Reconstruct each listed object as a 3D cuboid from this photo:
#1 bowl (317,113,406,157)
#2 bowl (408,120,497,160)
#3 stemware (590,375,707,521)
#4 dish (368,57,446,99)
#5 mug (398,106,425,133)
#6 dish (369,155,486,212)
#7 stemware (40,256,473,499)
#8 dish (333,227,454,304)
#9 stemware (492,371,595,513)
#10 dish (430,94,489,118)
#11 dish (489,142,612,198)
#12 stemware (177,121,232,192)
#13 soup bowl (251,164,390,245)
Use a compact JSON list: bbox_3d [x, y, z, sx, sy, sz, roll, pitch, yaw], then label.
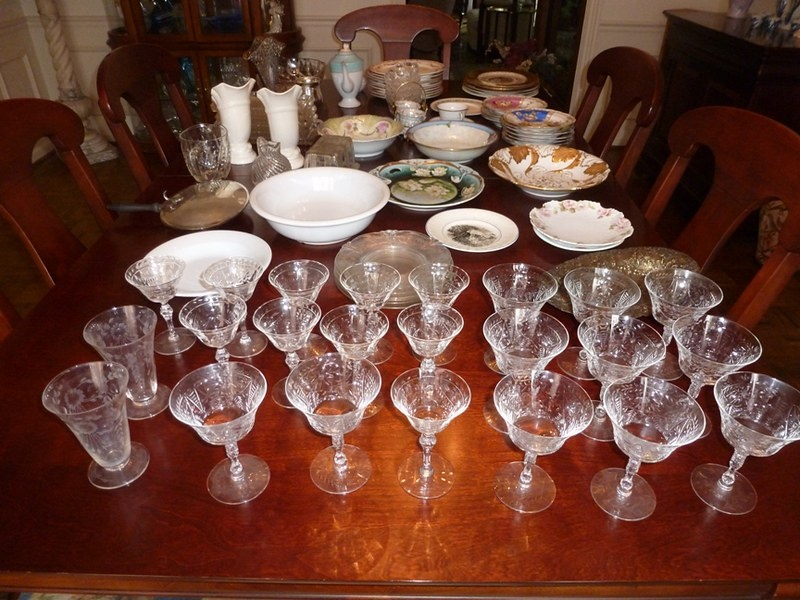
[{"bbox_3d":[-0.116,-0.525,1.796,0.203,0.060,0.198,1,41,-1],"label":"bowl"},{"bbox_3d":[0.153,-0.511,1.808,0.212,0.056,0.204,1,37,0],"label":"bowl"},{"bbox_3d":[0.394,0.241,0.896,0.138,0.151,0.133,-16,46,-20],"label":"stemware"},{"bbox_3d":[0.026,-0.898,2.343,0.312,0.110,0.284,-3,36,-1],"label":"dish"},{"bbox_3d":[0.044,-0.616,1.967,0.102,0.069,0.083,-5,48,-11],"label":"mug"},{"bbox_3d":[0.084,-0.337,1.681,0.347,0.052,0.350,-2,-5,42],"label":"dish"},{"bbox_3d":[-0.208,0.155,0.935,0.396,0.183,0.299,0,39,-5],"label":"stemware"},{"bbox_3d":[-0.011,-0.068,1.307,0.259,0.240,0.054,6,59,-18],"label":"dish"},{"bbox_3d":[0.214,0.235,0.914,0.156,0.166,0.144,14,22,22],"label":"stemware"},{"bbox_3d":[0.221,-0.739,2.153,0.155,0.015,0.142,-2,36,-1],"label":"dish"},{"bbox_3d":[0.454,-0.374,1.731,0.383,0.096,0.370,3,1,-25],"label":"dish"},{"bbox_3d":[-0.533,-0.383,1.555,0.151,0.157,0.144,-8,28,-9],"label":"stemware"},{"bbox_3d":[-0.240,-0.215,1.534,0.436,0.117,0.397,-4,-2,0],"label":"soup bowl"}]
